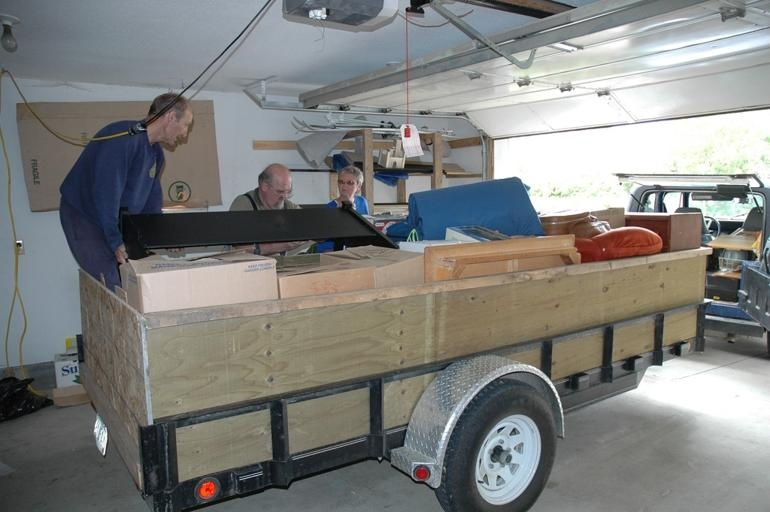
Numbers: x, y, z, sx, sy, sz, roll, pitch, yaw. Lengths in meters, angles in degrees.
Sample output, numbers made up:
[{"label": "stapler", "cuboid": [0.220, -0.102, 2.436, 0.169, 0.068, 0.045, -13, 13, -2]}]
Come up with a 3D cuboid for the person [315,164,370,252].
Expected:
[{"label": "person", "cuboid": [-0.480, -0.544, 6.131, 0.807, 0.964, 0.667, 1, 4, -31]}]

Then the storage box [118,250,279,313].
[{"label": "storage box", "cuboid": [-1.002, 0.155, 2.949, 0.512, 0.163, 0.460, -4, 7, -27]}]

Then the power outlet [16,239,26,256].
[{"label": "power outlet", "cuboid": [-4.357, -0.096, 6.275, 0.086, 0.183, 0.045, -8, 10, -31]}]

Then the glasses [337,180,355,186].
[{"label": "glasses", "cuboid": [-0.437, -0.818, 5.971, 0.196, 0.064, 0.068, 0, 8, 15]}]

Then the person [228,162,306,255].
[{"label": "person", "cuboid": [-1.137, -0.461, 4.919, 0.582, 0.795, 1.379, -4, 8, -10]}]

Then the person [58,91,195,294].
[{"label": "person", "cuboid": [-2.013, -0.546, 4.190, 0.954, 1.407, 0.962, -8, 10, -32]}]

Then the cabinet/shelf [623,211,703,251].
[{"label": "cabinet/shelf", "cuboid": [2.426, -0.225, 4.663, 0.536, 0.308, 0.555, -7, 9, -30]}]
